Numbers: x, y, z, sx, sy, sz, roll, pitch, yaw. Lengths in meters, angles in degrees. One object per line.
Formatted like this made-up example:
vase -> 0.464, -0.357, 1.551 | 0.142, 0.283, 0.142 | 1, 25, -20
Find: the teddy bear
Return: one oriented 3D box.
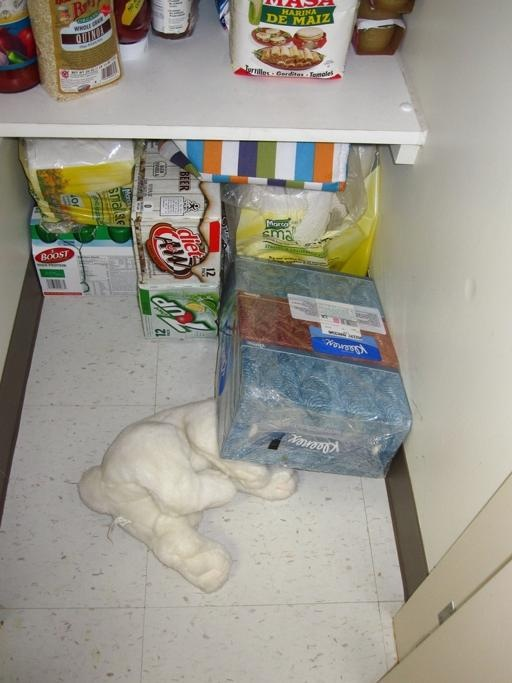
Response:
teddy bear -> -0.149, 0.293, 1.217 | 0.405, 0.202, 0.341 | 33, 55, 15
